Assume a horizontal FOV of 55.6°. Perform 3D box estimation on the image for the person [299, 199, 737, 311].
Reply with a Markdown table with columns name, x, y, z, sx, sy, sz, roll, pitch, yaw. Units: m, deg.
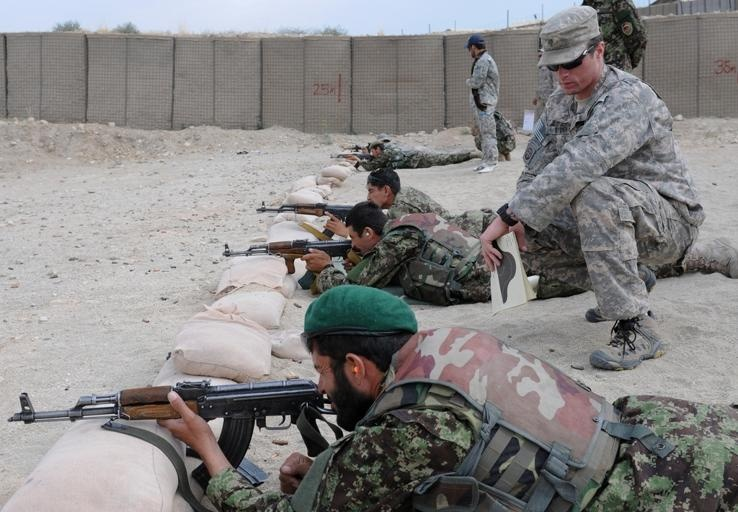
| name | x | y | z | sx | sy | sz | roll | pitch | yaw |
| --- | --- | --- | --- | --- | --- | --- | --- | --- | --- |
| person | 0.802 | 0.016 | 5.382 | 2.494 | 0.707 | 1.383 | -4 | 1 | 8 |

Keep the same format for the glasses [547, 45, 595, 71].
| name | x | y | z | sx | sy | sz | roll | pitch | yaw |
| --- | --- | --- | --- | --- | --- | --- | --- | --- | --- |
| glasses | 1.223 | -1.179 | 4.196 | 0.198 | 0.056 | 0.154 | -16 | 8 | -19 |

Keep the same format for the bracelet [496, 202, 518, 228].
| name | x | y | z | sx | sy | sz | roll | pitch | yaw |
| --- | --- | --- | --- | --- | --- | --- | --- | --- | --- |
| bracelet | 0.819 | -0.238 | 4.165 | 0.116 | 0.141 | 0.116 | -3 | 8 | 11 |

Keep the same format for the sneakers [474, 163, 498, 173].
| name | x | y | z | sx | sy | sz | roll | pitch | yaw |
| --- | --- | --- | --- | --- | --- | --- | --- | --- | --- |
| sneakers | 1.756 | -1.322 | 10.502 | 0.245 | 0.105 | 0.143 | -2 | 12 | -18 |

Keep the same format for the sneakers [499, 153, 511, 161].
| name | x | y | z | sx | sy | sz | roll | pitch | yaw |
| --- | --- | --- | --- | --- | --- | --- | --- | --- | --- |
| sneakers | 2.299 | -1.667 | 11.800 | 0.145 | 0.149 | 0.140 | 1 | 5 | 10 |

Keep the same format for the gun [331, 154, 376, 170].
| name | x | y | z | sx | sy | sz | roll | pitch | yaw |
| --- | --- | --- | --- | --- | --- | --- | --- | --- | --- |
| gun | -0.303 | -1.744 | 12.685 | 0.727 | 0.314 | 0.383 | 3 | 17 | 8 |

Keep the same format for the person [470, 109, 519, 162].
| name | x | y | z | sx | sy | sz | roll | pitch | yaw |
| --- | --- | --- | --- | --- | --- | --- | --- | --- | --- |
| person | 1.980 | -2.179 | 12.040 | 1.024 | 0.603 | 1.566 | 7 | 15 | 1 |

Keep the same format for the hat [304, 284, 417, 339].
| name | x | y | z | sx | sy | sz | roll | pitch | yaw |
| --- | --- | --- | --- | --- | --- | --- | --- | --- | --- |
| hat | -0.042 | 0.230 | 3.047 | 0.346 | 0.140 | 0.259 | -1 | 1 | 1 |

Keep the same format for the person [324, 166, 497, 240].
| name | x | y | z | sx | sy | sz | roll | pitch | yaw |
| --- | --- | --- | --- | --- | --- | --- | --- | --- | --- |
| person | 0.434 | -0.442 | 6.673 | 1.535 | 0.747 | 0.502 | 0 | 7 | -4 |

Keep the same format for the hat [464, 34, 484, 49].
| name | x | y | z | sx | sy | sz | roll | pitch | yaw |
| --- | --- | --- | --- | --- | --- | --- | --- | --- | --- |
| hat | 1.485 | -3.170 | 10.320 | 0.227 | 0.190 | 0.320 | -23 | 34 | -36 |

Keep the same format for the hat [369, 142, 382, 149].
| name | x | y | z | sx | sy | sz | roll | pitch | yaw |
| --- | --- | --- | --- | --- | --- | --- | --- | --- | --- |
| hat | 0.126 | -1.998 | 12.616 | 0.183 | 0.105 | 0.150 | 7 | 18 | 25 |

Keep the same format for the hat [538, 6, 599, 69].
| name | x | y | z | sx | sy | sz | roll | pitch | yaw |
| --- | --- | --- | --- | --- | --- | --- | --- | --- | --- |
| hat | 1.194 | -1.325 | 4.193 | 0.358 | 0.345 | 0.180 | -2 | 8 | 16 |
